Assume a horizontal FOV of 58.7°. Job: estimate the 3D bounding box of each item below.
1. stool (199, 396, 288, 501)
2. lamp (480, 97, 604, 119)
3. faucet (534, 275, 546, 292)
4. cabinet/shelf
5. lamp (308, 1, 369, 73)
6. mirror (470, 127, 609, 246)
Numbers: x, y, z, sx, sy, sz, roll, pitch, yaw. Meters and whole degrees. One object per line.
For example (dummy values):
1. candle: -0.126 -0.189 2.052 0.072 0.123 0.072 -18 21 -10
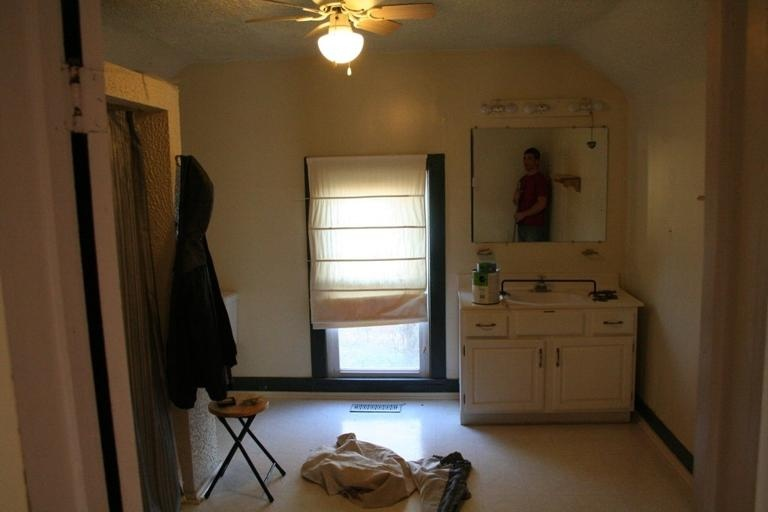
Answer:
1. stool: -0.809 1.079 4.054 0.564 0.678 0.484 -1 2 1
2. lamp: 1.149 -1.027 4.803 0.756 0.135 0.107 -1 10 1
3. faucet: 1.118 0.198 4.851 0.088 0.114 0.097 0 5 18
4. cabinet/shelf: 1.145 0.742 4.733 1.364 0.931 0.690 -1 -3 6
5. lamp: -0.232 -1.107 3.532 0.234 0.322 0.360 -2 5 -5
6. mirror: 1.131 -0.529 4.823 0.837 0.707 0.032 0 6 6
